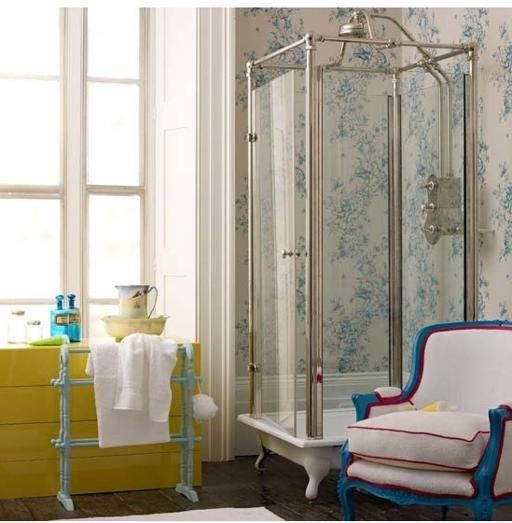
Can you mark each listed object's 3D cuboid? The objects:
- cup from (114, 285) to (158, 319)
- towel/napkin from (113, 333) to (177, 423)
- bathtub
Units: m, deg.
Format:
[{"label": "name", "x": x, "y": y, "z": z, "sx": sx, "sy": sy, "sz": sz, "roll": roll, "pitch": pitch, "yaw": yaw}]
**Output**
[{"label": "cup", "x": -0.556, "y": 0.179, "z": 2.898, "sx": 0.210, "sy": 0.182, "sz": 0.184, "roll": 1, "pitch": -5, "yaw": -16}, {"label": "towel/napkin", "x": -0.440, "y": 0.452, "z": 2.462, "sx": 0.204, "sy": 0.359, "sz": 0.107, "roll": 3, "pitch": -9, "yaw": -19}, {"label": "bathtub", "x": 0.172, "y": 0.817, "z": 2.758, "sx": 0.282, "sy": 0.364, "sz": 0.600, "roll": 4, "pitch": -6, "yaw": -38}]
